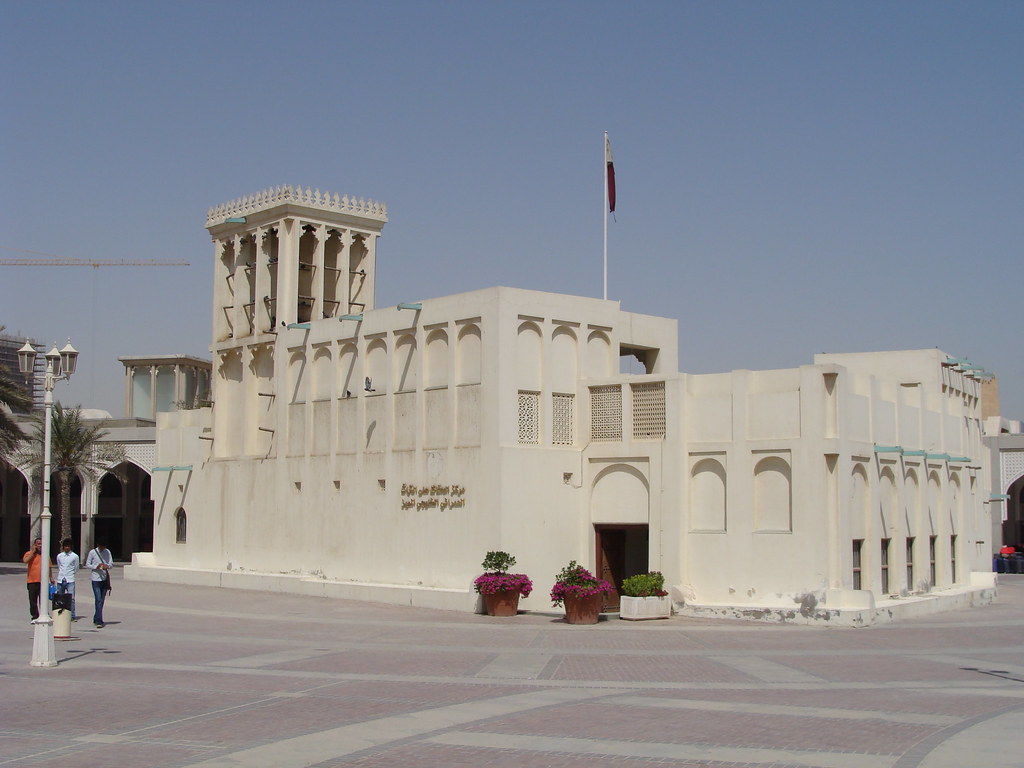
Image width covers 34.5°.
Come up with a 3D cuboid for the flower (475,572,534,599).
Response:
[{"bbox_3d":[-0.240,5.719,47.035,1.566,0.693,0.830,1,-1,-10],"label":"flower"}]

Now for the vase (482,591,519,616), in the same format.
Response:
[{"bbox_3d":[-0.373,6.238,46.967,0.768,0.514,0.775,-3,-12,23],"label":"vase"}]

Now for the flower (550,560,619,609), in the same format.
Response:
[{"bbox_3d":[1.700,5.530,44.980,1.292,0.984,1.301,1,2,-17],"label":"flower"}]

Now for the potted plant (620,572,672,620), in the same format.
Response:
[{"bbox_3d":[3.768,6.154,46.325,1.096,1.463,1.448,-1,-21,-5],"label":"potted plant"}]
